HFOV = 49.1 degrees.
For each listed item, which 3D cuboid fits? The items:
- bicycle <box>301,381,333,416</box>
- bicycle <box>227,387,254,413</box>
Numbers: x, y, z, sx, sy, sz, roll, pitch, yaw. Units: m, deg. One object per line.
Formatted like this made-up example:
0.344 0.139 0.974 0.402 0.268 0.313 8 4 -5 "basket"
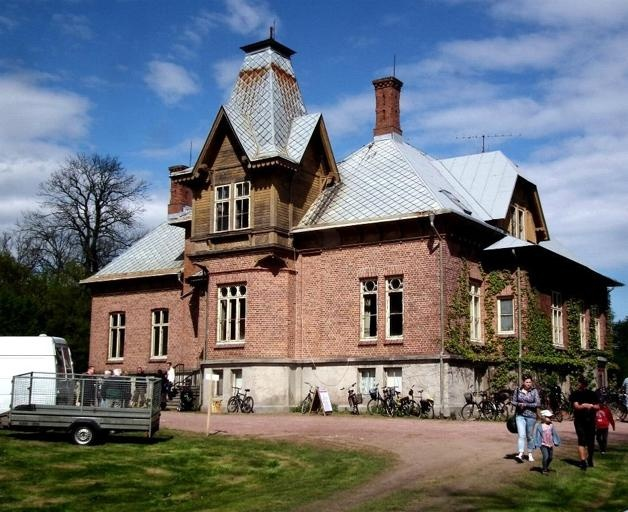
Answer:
0.101 5.869 28.372 1.304 1.685 1.157 12 -15 -43 "bicycle"
-3.073 6.114 28.929 1.431 0.856 0.707 -2 -19 29 "bicycle"
